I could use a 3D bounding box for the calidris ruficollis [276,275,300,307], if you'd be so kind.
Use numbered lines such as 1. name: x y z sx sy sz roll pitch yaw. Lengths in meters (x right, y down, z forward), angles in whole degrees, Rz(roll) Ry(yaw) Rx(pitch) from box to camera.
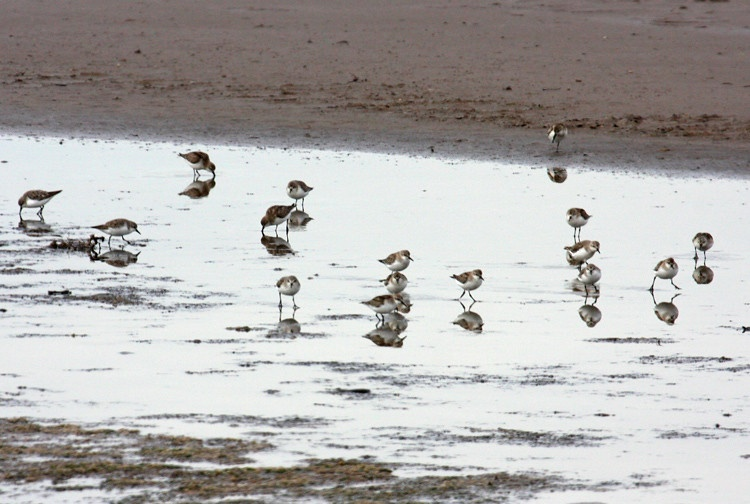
1. calidris ruficollis: -1.821 0.728 27.978 0.444 0.474 0.826 0 0 -12

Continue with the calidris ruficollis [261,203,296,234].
1. calidris ruficollis: -2.355 -0.875 32.428 1.096 0.504 0.496 -13 -12 40

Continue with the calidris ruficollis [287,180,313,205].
1. calidris ruficollis: -1.978 -1.481 34.114 0.603 0.644 1.245 3 2 -3

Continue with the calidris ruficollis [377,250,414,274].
1. calidris ruficollis: 0.459 0.197 29.223 0.794 0.417 0.393 10 10 40

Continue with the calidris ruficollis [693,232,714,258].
1. calidris ruficollis: 7.633 -0.215 31.069 0.443 0.439 0.742 0 0 7

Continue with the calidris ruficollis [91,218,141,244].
1. calidris ruficollis: -5.963 -0.563 31.006 1.257 0.425 0.449 1 10 5

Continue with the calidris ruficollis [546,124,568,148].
1. calidris ruficollis: 5.351 -3.455 38.399 0.506 0.590 0.862 3 16 14

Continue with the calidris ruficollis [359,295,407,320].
1. calidris ruficollis: 0.163 1.144 27.806 0.791 0.491 0.769 3 2 2

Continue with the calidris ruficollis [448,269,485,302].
1. calidris ruficollis: 1.998 0.636 28.512 0.439 0.636 0.985 -15 26 -40

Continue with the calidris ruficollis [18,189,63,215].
1. calidris ruficollis: -8.651 -1.291 32.959 1.405 0.549 0.478 -2 17 10

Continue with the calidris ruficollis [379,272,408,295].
1. calidris ruficollis: 0.462 0.684 28.596 0.404 0.478 0.441 3 2 -7
